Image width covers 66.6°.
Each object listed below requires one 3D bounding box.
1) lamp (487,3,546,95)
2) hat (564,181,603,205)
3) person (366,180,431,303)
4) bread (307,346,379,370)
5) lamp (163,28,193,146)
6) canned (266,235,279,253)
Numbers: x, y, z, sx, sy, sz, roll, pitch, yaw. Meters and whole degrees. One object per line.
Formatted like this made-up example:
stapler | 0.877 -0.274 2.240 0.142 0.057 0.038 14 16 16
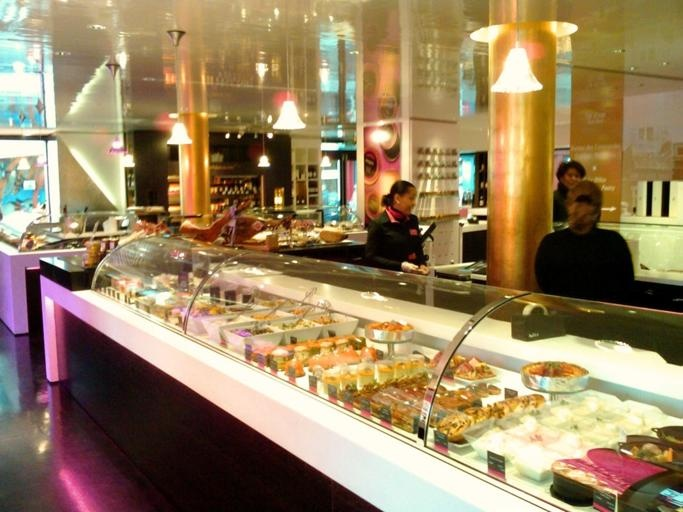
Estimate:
lamp | 1.158 -1.396 3.427 0.335 0.618 0.305 1 11 20
hat | 1.281 -0.331 2.725 0.118 0.143 0.155 -8 -1 -36
person | 0.478 -0.265 4.327 0.413 0.713 0.521 7 14 42
bread | 0.003 0.422 2.140 0.145 0.034 0.138 -6 2 -22
lamp | -2.537 -2.429 7.995 0.342 1.425 2.639 -6 11 -17
canned | -0.720 -0.122 5.377 0.163 0.162 0.054 -3 14 -25
